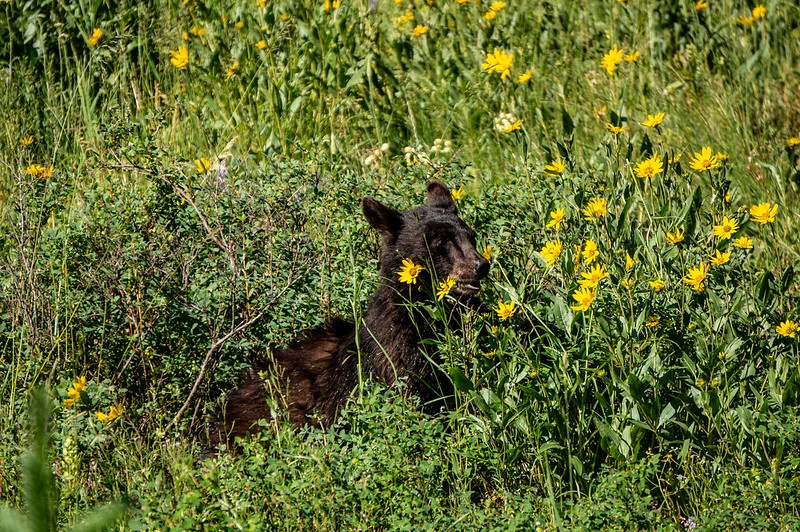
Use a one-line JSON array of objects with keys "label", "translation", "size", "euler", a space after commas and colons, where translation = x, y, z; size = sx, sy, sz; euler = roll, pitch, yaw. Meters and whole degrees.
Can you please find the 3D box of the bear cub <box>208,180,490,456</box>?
[{"label": "bear cub", "translation": [-0.281, 0.577, 7.126], "size": [2.058, 1.905, 0.779], "euler": [-14, -1, 34]}]
